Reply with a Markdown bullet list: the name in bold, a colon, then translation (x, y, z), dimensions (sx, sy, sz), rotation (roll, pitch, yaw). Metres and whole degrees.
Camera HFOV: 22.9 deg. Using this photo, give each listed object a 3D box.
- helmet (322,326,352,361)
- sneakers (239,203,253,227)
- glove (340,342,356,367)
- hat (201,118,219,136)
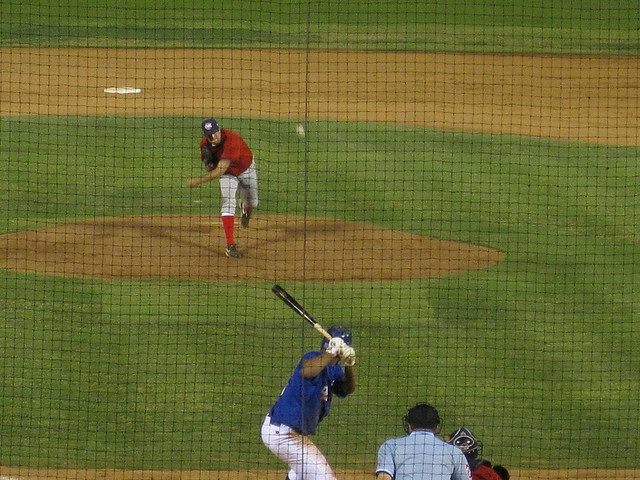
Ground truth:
- **helmet**: translation (0.332, 1.731, 27.742), dimensions (0.395, 0.480, 0.457), rotation (28, -1, 15)
- **sneakers**: translation (-1.568, -0.579, 34.308), dimensions (0.203, 0.530, 0.255), rotation (0, 6, -16)
- **glove**: translation (0.544, 1.966, 27.717), dimensions (0.266, 0.390, 0.187), rotation (-5, 19, 33)
- **hat**: translation (-2.244, -2.394, 33.199), dimensions (0.356, 0.376, 0.453), rotation (-3, 26, -3)
